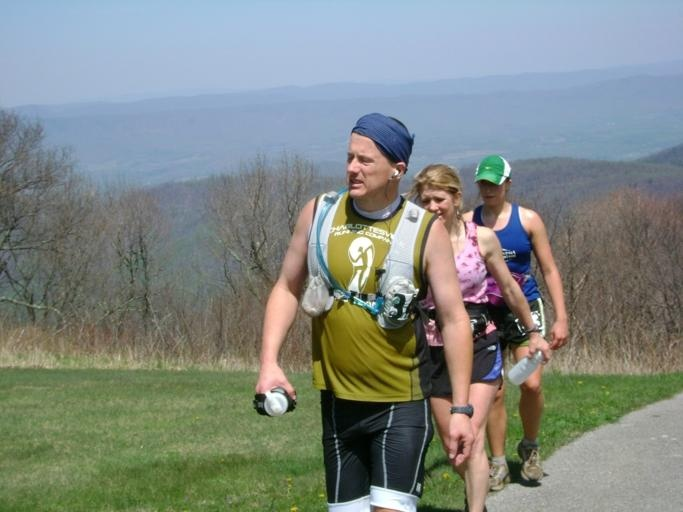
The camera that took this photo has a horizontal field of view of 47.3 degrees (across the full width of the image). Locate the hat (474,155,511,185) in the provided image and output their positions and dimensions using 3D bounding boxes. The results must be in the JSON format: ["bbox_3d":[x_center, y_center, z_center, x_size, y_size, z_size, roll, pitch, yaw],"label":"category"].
[{"bbox_3d":[1.630,-0.933,8.359,0.239,0.224,0.385,3,7,20],"label":"hat"}]

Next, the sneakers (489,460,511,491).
[{"bbox_3d":[1.658,2.340,8.290,0.180,0.211,0.398,-3,-5,24],"label":"sneakers"}]

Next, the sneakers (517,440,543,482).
[{"bbox_3d":[2.054,2.212,8.382,0.187,0.224,0.484,-1,38,-4],"label":"sneakers"}]

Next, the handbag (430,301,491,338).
[{"bbox_3d":[1.158,0.581,7.385,0.440,0.280,0.341,3,4,15],"label":"handbag"}]
